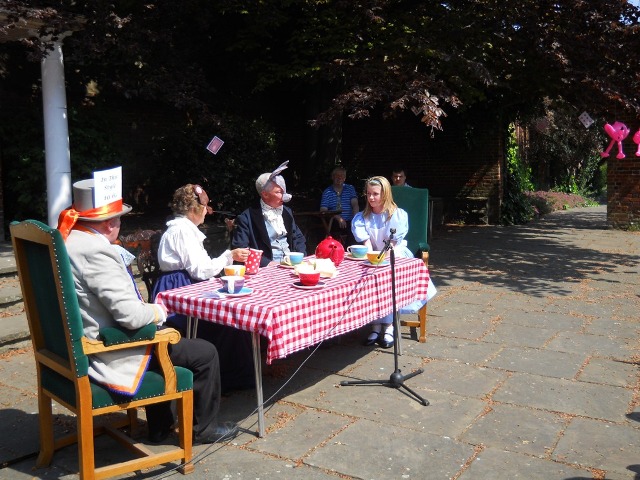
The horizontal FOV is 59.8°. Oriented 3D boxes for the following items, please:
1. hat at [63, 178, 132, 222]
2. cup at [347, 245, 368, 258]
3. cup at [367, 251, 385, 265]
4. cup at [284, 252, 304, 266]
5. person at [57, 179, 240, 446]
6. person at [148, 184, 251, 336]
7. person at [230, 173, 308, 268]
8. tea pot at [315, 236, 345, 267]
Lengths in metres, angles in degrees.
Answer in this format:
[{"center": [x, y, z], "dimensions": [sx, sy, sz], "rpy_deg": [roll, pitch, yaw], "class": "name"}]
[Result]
[{"center": [-1.560, -0.269, 3.739], "dimensions": [0.315, 0.154, 0.290], "rpy_deg": [9, 13, 35], "class": "hat"}, {"center": [0.380, 0.102, 5.501], "dimensions": [0.125, 0.078, 0.152], "rpy_deg": [0, -4, -20], "class": "cup"}, {"center": [0.520, 0.155, 5.143], "dimensions": [0.123, 0.079, 0.125], "rpy_deg": [2, 12, 0], "class": "cup"}, {"center": [-0.238, 0.162, 5.141], "dimensions": [0.148, 0.101, 0.110], "rpy_deg": [-5, 0, 19], "class": "cup"}, {"center": [-1.197, 0.602, 4.018], "dimensions": [1.240, 1.941, 0.849], "rpy_deg": [-3, 8, -30], "class": "person"}, {"center": [-1.061, 0.293, 5.003], "dimensions": [0.836, 1.514, 0.813], "rpy_deg": [0, 8, -17], "class": "person"}, {"center": [-0.540, -0.255, 5.907], "dimensions": [0.558, 0.996, 1.018], "rpy_deg": [9, 13, 32], "class": "person"}, {"center": [0.095, 0.086, 5.311], "dimensions": [0.255, 0.299, 0.254], "rpy_deg": [2, -20, 1], "class": "tea pot"}]
